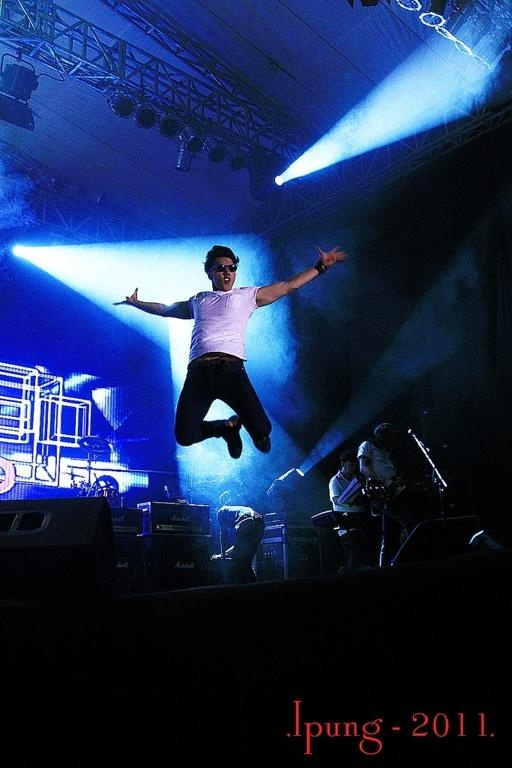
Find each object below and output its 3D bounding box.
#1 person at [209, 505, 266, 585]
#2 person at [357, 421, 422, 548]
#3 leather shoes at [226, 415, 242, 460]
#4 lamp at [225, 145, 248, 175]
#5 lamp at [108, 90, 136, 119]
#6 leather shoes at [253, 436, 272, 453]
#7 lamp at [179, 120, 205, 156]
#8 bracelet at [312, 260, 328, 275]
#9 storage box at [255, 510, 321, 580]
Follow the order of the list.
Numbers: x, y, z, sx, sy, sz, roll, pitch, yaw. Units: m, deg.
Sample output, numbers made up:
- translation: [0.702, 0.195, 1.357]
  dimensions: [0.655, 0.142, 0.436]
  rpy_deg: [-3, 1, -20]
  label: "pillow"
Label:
- translation: [-0.164, 1.497, 5.831]
  dimensions: [0.446, 0.709, 0.913]
  rpy_deg: [-4, -4, -5]
  label: "person"
- translation: [1.105, 0.896, 5.295]
  dimensions: [0.460, 1.037, 0.663]
  rpy_deg: [-4, -4, 9]
  label: "person"
- translation: [-0.137, 0.357, 4.112]
  dimensions: [0.093, 0.261, 0.113]
  rpy_deg: [-2, 9, -2]
  label: "leather shoes"
- translation: [-0.259, -2.929, 8.299]
  dimensions: [0.256, 0.120, 0.336]
  rpy_deg: [4, -22, 47]
  label: "lamp"
- translation: [-1.443, -3.059, 7.011]
  dimensions: [0.304, 0.231, 0.136]
  rpy_deg: [-1, -4, -33]
  label: "lamp"
- translation: [0.038, 0.361, 3.886]
  dimensions: [0.093, 0.045, 0.125]
  rpy_deg: [-1, -33, 1]
  label: "leather shoes"
- translation: [-0.762, -2.931, 7.606]
  dimensions: [0.310, 0.329, 0.229]
  rpy_deg: [-3, -4, -5]
  label: "lamp"
- translation: [0.369, -0.675, 3.706]
  dimensions: [0.092, 0.066, 0.115]
  rpy_deg: [0, -18, 6]
  label: "bracelet"
- translation: [0.348, 1.986, 7.200]
  dimensions: [0.636, 0.898, 0.628]
  rpy_deg: [7, -15, -23]
  label: "storage box"
